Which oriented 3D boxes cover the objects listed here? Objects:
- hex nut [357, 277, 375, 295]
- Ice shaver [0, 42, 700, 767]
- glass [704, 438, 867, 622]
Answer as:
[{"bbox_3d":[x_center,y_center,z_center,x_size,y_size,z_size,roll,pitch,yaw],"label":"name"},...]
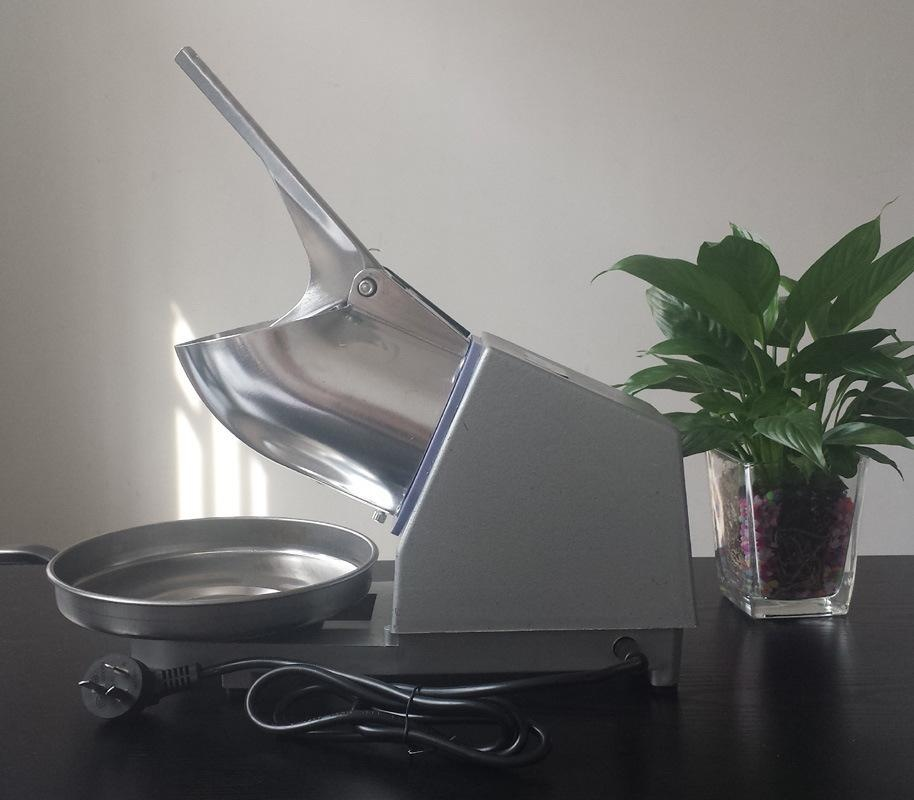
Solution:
[{"bbox_3d":[-0.096,-0.119,1.204,0.020,0.018,0.010,15,-22,-14],"label":"hex nut"},{"bbox_3d":[0.008,0.067,1.513,0.853,0.862,0.555,1,-4,-1],"label":"Ice shaver"},{"bbox_3d":[0.416,0.166,1.445,0.197,0.204,0.209,0,-1,27],"label":"glass"}]
